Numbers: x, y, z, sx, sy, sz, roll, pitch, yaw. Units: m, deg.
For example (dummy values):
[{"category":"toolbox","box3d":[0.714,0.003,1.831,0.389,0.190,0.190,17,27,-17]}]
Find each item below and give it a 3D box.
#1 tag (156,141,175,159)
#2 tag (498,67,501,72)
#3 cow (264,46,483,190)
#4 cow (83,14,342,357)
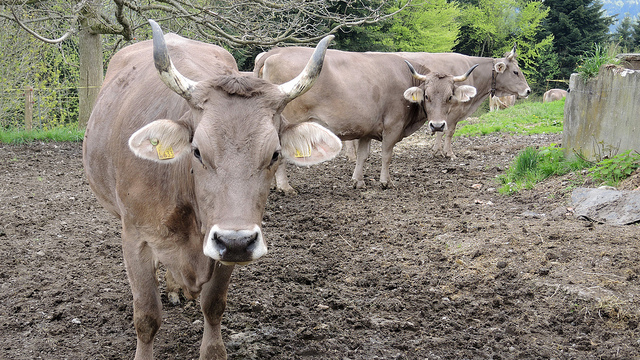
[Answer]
[{"category":"tag","box3d":[-2.165,-0.426,8.556,0.267,0.255,0.026,-4,-12,-13]},{"category":"tag","box3d":[4.828,-2.990,16.462,0.079,0.097,0.037,16,19,10]},{"category":"cow","box3d":[1.161,-1.293,13.063,4.059,2.097,1.911,-2,6,-30]},{"category":"cow","box3d":[-1.861,0.199,9.052,3.575,4.905,1.570,6,11,29]}]
